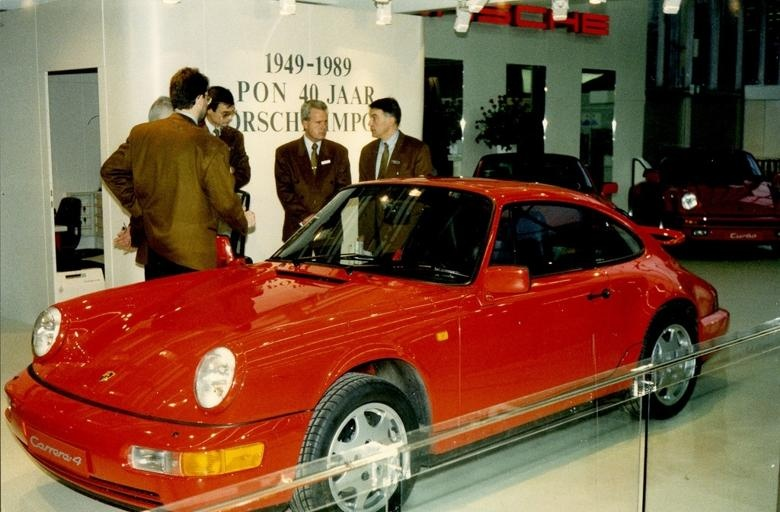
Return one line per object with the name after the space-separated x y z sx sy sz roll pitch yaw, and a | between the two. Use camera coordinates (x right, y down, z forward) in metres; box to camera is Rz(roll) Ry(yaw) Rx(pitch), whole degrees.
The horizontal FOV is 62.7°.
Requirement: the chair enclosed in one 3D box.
0.960 -0.133 4.526 1.263 0.381 0.665 -1 6 -28 | chair
